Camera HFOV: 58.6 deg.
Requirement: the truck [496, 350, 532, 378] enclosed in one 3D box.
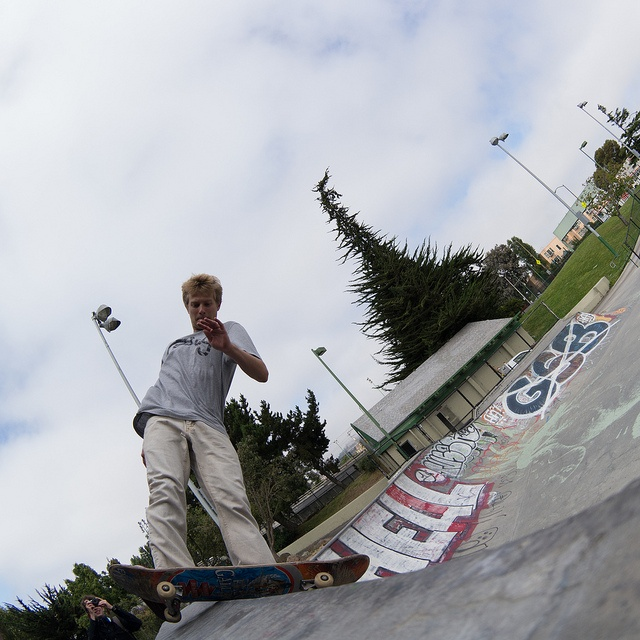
[{"bbox_3d":[7.145,1.581,21.106,1.237,0.369,1.627,-49,-17,8],"label":"truck"}]
